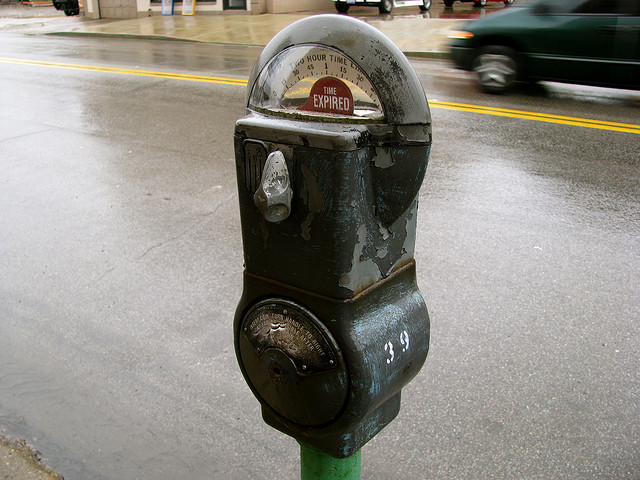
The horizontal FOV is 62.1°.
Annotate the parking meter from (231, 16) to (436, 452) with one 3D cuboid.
[{"bbox_3d":[0.050,-0.001,1.788,0.660,1.371,0.597,15,24,42],"label":"parking meter"}]

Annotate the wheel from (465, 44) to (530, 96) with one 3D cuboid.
[{"bbox_3d":[2.882,-2.651,8.522,0.660,0.754,0.882,-24,32,-28],"label":"wheel"}]

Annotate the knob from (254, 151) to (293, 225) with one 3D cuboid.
[{"bbox_3d":[-0.138,-0.141,1.533,0.120,0.210,0.111,12,39,14],"label":"knob"}]
